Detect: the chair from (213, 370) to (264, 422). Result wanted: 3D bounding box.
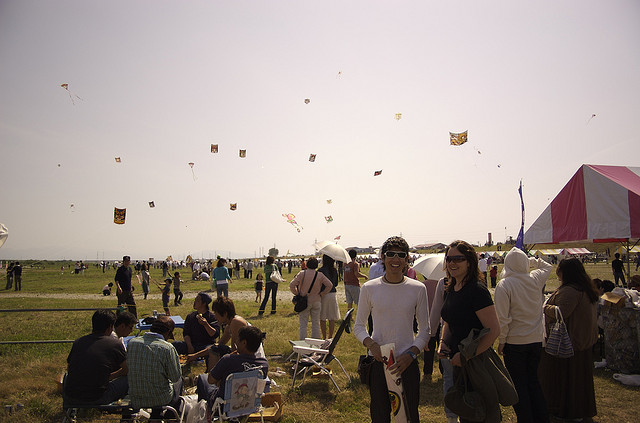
[{"bbox_3d":[-1.419,3.212,7.905,0.661,0.854,0.890,2,-39,-27],"label":"chair"}]

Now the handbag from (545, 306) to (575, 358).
[{"bbox_3d":[4.551,2.297,8.560,0.477,0.982,0.273,-3,-5,24],"label":"handbag"}]

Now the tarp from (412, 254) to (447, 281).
[{"bbox_3d":[2.557,1.315,10.621,0.730,0.594,0.956,-2,-6,12],"label":"tarp"}]

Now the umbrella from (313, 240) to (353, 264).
[{"bbox_3d":[0.363,1.152,12.830,0.985,0.601,1.179,-1,-5,1],"label":"umbrella"}]

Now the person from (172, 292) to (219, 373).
[{"bbox_3d":[-2.726,2.733,9.920,0.961,1.851,0.987,2,-7,2],"label":"person"}]

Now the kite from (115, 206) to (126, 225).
[{"bbox_3d":[-7.772,0.214,17.365,0.557,0.932,0.085,2,-2,-20],"label":"kite"}]

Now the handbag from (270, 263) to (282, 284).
[{"bbox_3d":[-1.716,2.356,17.089,0.386,0.727,0.689,0,-5,-8],"label":"handbag"}]

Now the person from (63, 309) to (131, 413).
[{"bbox_3d":[-4.032,2.650,8.163,1.124,1.706,0.373,0,-5,-5],"label":"person"}]

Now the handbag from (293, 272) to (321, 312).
[{"bbox_3d":[-0.388,2.221,11.823,0.285,0.846,0.477,28,-11,9],"label":"handbag"}]

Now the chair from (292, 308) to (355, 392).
[{"bbox_3d":[0.063,3.131,10.324,1.308,1.646,1.383,-1,-5,3],"label":"chair"}]

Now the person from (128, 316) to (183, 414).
[{"bbox_3d":[-2.979,2.798,8.083,0.904,1.674,0.530,1,-5,-20],"label":"person"}]
